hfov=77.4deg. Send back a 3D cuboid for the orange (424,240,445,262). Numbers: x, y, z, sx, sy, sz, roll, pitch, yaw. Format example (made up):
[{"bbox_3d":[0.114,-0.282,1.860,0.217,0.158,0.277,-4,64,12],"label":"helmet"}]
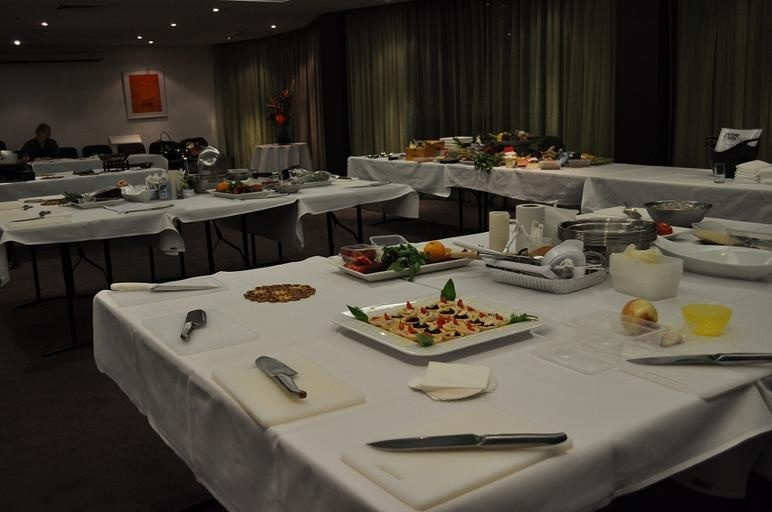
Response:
[{"bbox_3d":[0.184,-0.016,1.817,0.082,0.070,0.075,-21,22,-23],"label":"orange"}]

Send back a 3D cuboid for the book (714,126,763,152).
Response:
[{"bbox_3d":[2.692,-0.891,3.685,0.279,0.164,0.212,4,16,30],"label":"book"}]

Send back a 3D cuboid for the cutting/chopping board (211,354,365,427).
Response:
[{"bbox_3d":[-0.187,0.240,1.084,0.357,0.073,0.397,-4,9,-22],"label":"cutting/chopping board"}]

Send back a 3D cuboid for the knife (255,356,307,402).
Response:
[{"bbox_3d":[-0.220,0.258,1.040,0.051,0.019,0.197,-7,10,-29],"label":"knife"}]

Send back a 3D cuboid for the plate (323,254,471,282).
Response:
[{"bbox_3d":[0.046,-0.004,1.867,0.568,0.077,0.461,-4,10,-25],"label":"plate"}]

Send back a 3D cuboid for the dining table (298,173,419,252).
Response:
[{"bbox_3d":[-0.345,-0.456,4.100,0.768,0.620,0.897,-11,18,-36],"label":"dining table"}]

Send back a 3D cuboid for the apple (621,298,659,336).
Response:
[{"bbox_3d":[0.645,0.154,1.229,0.063,0.062,0.057,6,21,-5],"label":"apple"}]

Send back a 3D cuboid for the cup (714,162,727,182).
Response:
[{"bbox_3d":[2.481,-0.620,3.578,0.081,0.131,0.207,4,16,32],"label":"cup"}]

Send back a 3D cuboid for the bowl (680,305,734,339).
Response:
[{"bbox_3d":[0.794,0.157,1.194,0.113,0.052,0.115,-6,11,1],"label":"bowl"}]

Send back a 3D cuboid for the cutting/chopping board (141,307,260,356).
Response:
[{"bbox_3d":[-0.498,0.208,1.296,0.214,0.029,0.228,-14,22,-35],"label":"cutting/chopping board"}]

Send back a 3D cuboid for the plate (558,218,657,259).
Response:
[{"bbox_3d":[0.771,-0.108,1.784,0.349,0.138,0.359,8,12,12],"label":"plate"}]

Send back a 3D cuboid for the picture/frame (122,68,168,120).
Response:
[{"bbox_3d":[-6.044,-4.022,12.077,0.988,1.165,0.163,-12,16,-26],"label":"picture/frame"}]

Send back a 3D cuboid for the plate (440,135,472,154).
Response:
[{"bbox_3d":[0.882,-1.408,6.019,0.381,0.114,0.345,-1,9,-4],"label":"plate"}]

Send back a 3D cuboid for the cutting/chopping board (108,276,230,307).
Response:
[{"bbox_3d":[-0.735,0.113,1.626,0.499,0.047,0.133,-2,14,-14],"label":"cutting/chopping board"}]

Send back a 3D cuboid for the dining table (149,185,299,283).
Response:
[{"bbox_3d":[-1.280,-0.326,3.682,0.802,0.461,0.960,-10,16,-32],"label":"dining table"}]
